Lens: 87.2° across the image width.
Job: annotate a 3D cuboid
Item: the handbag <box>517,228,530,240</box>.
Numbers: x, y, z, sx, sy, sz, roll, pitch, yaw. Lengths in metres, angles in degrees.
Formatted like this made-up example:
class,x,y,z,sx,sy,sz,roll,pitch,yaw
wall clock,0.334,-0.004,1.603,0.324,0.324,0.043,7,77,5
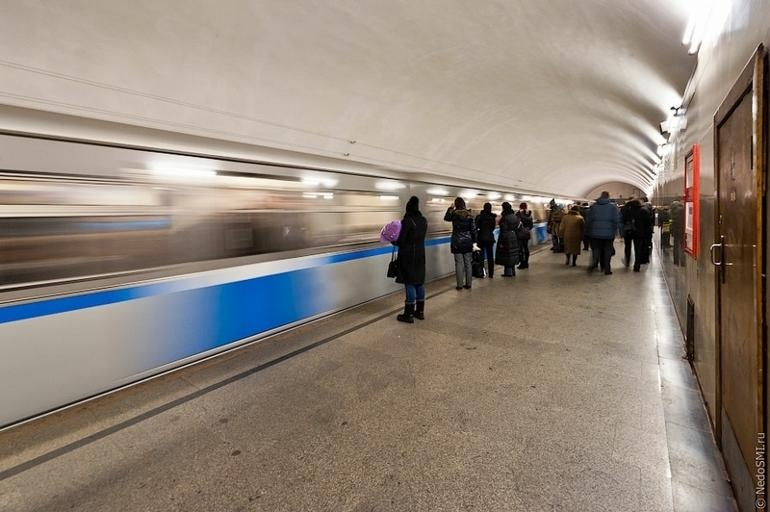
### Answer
class,x,y,z,sx,sy,sz,roll,pitch,yaw
handbag,4.000,-0.596,11.604,0.520,0.343,0.281,-1,-2,-44

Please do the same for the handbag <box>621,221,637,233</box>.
class,x,y,z,sx,sy,sz,roll,pitch,yaw
handbag,6.405,-0.725,10.745,0.327,0.264,0.493,18,-11,-30

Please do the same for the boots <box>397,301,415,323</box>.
class,x,y,z,sx,sy,sz,roll,pitch,yaw
boots,0.369,1.020,7.198,0.394,0.363,0.209,14,9,38
